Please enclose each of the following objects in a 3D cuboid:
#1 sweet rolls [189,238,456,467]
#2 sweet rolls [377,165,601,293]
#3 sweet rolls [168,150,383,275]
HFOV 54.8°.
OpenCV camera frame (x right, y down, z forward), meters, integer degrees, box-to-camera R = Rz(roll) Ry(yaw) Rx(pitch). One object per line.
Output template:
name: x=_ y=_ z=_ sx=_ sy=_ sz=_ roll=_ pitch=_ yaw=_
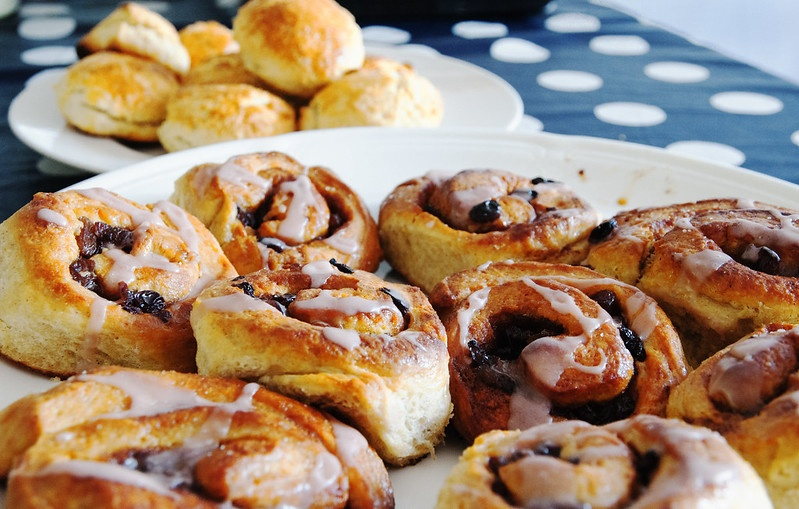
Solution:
sweet rolls: x=-0.178 y=0.235 z=2.148 sx=0.728 sy=0.304 sz=0.493 roll=26 pitch=35 yaw=17
sweet rolls: x=0.290 y=-0.116 z=2.707 sx=0.580 sy=0.262 sz=0.553 roll=6 pitch=22 yaw=-2
sweet rolls: x=-0.419 y=-0.145 z=2.679 sx=0.586 sy=0.205 sz=0.477 roll=39 pitch=41 yaw=16
